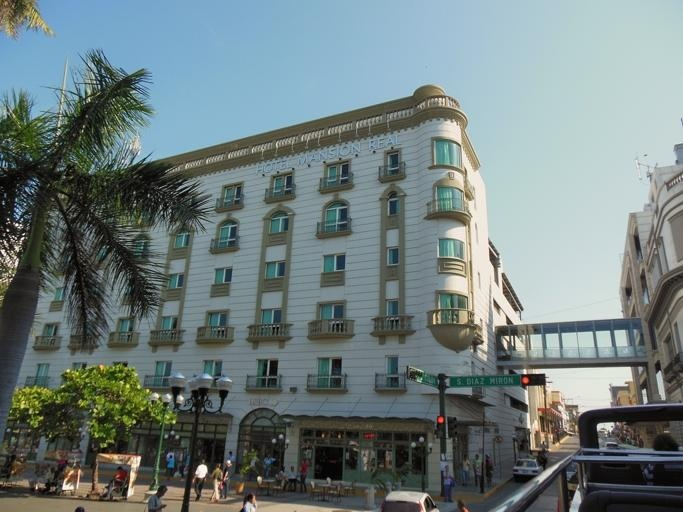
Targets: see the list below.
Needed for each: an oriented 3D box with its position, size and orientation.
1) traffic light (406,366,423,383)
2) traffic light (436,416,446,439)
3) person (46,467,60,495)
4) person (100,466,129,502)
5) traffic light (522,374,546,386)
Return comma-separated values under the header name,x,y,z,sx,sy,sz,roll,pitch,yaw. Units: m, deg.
name,x,y,z,sx,sy,sz,roll,pitch,yaw
traffic light,3.758,5.782,24.918,0.612,0.677,1.697,-5,-24,15
traffic light,5.355,8.983,26.460,0.468,1.106,0.568,-1,-25,7
person,-14.652,11.483,25.390,0.365,1.226,0.933,6,-1,-31
person,-11.435,11.514,25.381,1.131,1.484,1.827,12,-26,-21
traffic light,9.333,5.913,24.176,1.272,0.510,0.774,-16,-29,34
